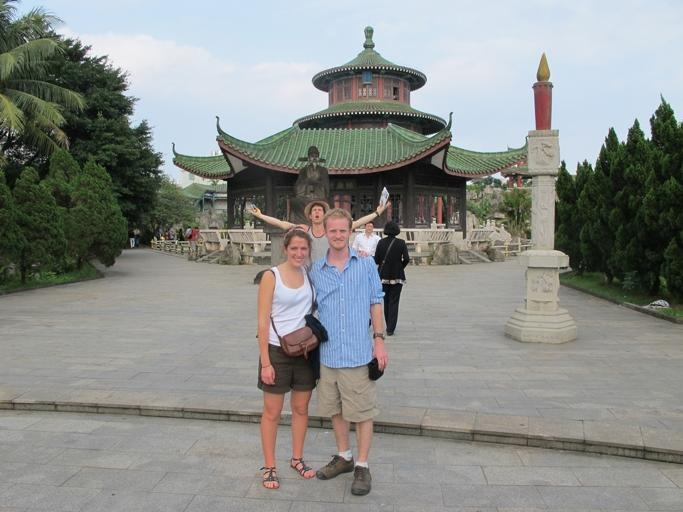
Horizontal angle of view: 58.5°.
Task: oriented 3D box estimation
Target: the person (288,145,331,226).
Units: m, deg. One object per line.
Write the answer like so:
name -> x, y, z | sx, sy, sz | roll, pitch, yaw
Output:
person -> -0.521, -1.175, 10.566 | 0.904, 1.411, 0.928 | -1, 5, -31

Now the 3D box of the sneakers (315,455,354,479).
sneakers -> -0.061, 1.755, 5.153 | 0.367, 0.170, 0.126 | -2, 8, -25

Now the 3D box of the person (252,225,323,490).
person -> -0.436, 0.806, 5.024 | 0.511, 2.049, 0.472 | -3, 9, -16

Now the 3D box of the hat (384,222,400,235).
hat -> 0.775, -0.419, 9.564 | 0.204, 0.183, 0.202 | -9, 9, -40

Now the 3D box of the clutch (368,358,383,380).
clutch -> 0.266, 0.914, 4.965 | 0.080, 0.161, 0.163 | -3, 0, 20

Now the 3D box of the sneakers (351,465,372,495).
sneakers -> 0.157, 1.786, 4.892 | 0.161, 0.188, 0.176 | 0, 9, 1

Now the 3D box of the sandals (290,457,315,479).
sandals -> -0.320, 1.765, 5.099 | 0.104, 0.092, 0.219 | -4, 3, -32

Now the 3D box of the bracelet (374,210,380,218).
bracelet -> 0.384, -0.464, 6.740 | 0.048, 0.019, 0.049 | 3, 36, 35

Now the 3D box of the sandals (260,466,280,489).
sandals -> -0.576, 1.782, 4.950 | 0.140, 0.148, 0.164 | -1, 9, -8
